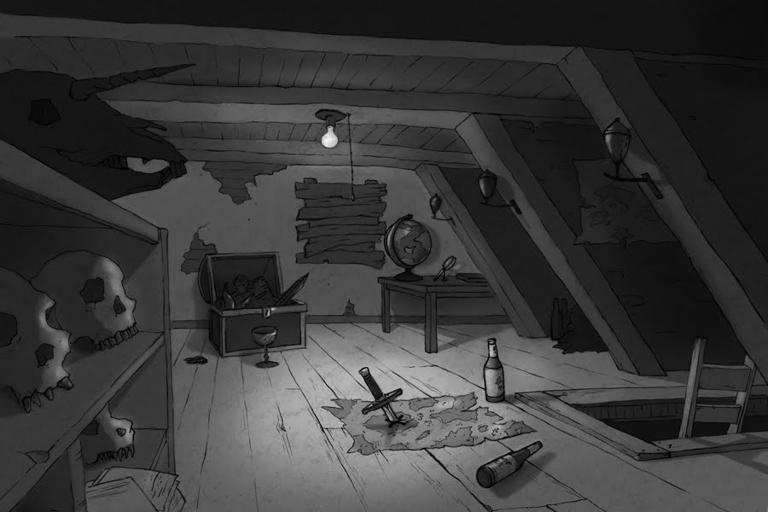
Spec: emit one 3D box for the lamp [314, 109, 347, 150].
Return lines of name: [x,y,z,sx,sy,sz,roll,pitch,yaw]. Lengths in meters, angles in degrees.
lamp: [-0.454,-1.058,5.218,0.245,0.280,0.254,-5,3,0]

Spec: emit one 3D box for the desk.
desk: [0.612,0.535,6.345,1.031,0.728,1.397,-4,9,-19]

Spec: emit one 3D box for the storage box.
storage box: [-1.281,0.457,6.119,0.848,0.869,1.048,-5,9,-22]
